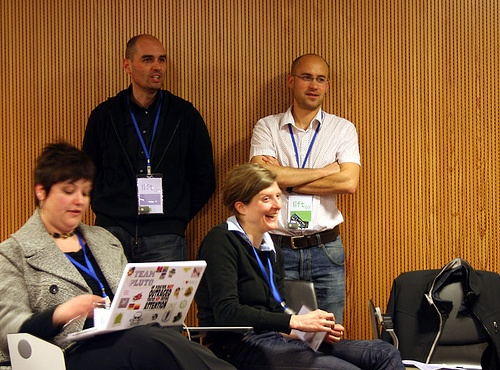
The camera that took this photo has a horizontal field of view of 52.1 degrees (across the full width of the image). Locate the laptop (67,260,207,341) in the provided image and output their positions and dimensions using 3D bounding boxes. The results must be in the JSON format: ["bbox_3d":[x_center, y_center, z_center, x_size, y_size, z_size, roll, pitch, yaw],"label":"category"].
[{"bbox_3d":[-0.483,0.488,2.392,0.432,0.302,0.464,-1,-6,35],"label":"laptop"}]

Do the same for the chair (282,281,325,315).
[{"bbox_3d":[0.339,0.701,3.206,0.170,0.236,0.185,2,-9,-14],"label":"chair"}]
